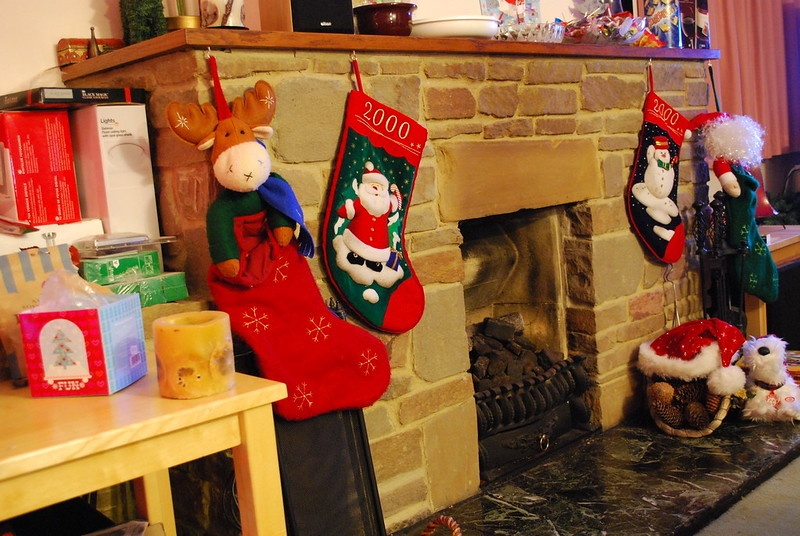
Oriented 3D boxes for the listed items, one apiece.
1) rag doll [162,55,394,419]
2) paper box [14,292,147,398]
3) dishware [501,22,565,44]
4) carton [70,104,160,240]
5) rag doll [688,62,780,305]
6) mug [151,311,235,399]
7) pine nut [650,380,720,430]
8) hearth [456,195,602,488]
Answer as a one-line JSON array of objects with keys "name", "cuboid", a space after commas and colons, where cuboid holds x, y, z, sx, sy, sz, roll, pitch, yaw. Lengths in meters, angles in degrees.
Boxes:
[{"name": "rag doll", "cuboid": [-0.357, -0.077, 1.856, 0.567, 1.117, 0.265, -10, 17, -26]}, {"name": "paper box", "cuboid": [-0.747, 0.190, 1.492, 0.253, 0.212, 0.248, -6, 8, -7]}, {"name": "dishware", "cuboid": [0.535, -0.975, 2.492, 0.367, 0.091, 0.141, -16, 20, -42]}, {"name": "carton", "cuboid": [-0.948, -0.289, 1.980, 0.192, 0.520, 0.273, -15, 23, -41]}, {"name": "rag doll", "cuboid": [1.693, -0.485, 3.149, 0.487, 1.360, 0.350, 4, -17, 4]}, {"name": "mug", "cuboid": [-0.456, 0.191, 1.391, 0.191, 0.174, 0.185, -6, 10, -18]}, {"name": "pine nut", "cuboid": [1.293, 0.641, 2.814, 0.270, 0.201, 0.148, -26, -15, -3]}, {"name": "hearth", "cuboid": [0.499, 0.279, 2.699, 0.745, 1.026, 0.499, -14, 19, -37]}]
